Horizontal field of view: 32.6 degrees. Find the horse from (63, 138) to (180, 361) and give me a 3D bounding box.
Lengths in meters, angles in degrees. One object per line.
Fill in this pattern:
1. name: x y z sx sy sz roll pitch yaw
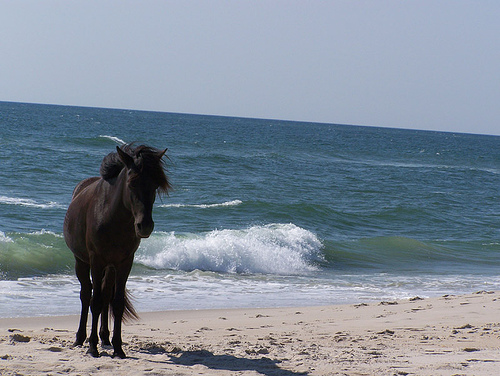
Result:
1. horse: -2.688 1.169 16.960 1.275 4.182 2.380 -4 13 -41
